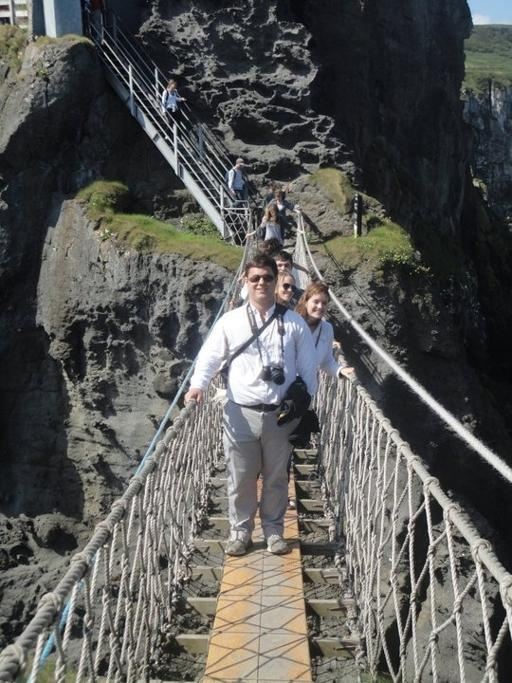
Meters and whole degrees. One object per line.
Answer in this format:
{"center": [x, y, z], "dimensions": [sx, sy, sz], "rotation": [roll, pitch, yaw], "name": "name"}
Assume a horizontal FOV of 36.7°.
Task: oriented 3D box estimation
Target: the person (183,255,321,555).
{"center": [-0.010, 0.311, 3.770], "dimensions": [0.616, 1.444, 0.383], "rotation": [-4, 15, 5], "name": "person"}

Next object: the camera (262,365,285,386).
{"center": [0.080, 0.148, 3.643], "dimensions": [0.094, 0.090, 0.093], "rotation": [-1, 23, -6], "name": "camera"}

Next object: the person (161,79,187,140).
{"center": [-1.445, -4.162, 13.545], "dimensions": [0.416, 0.961, 1.391], "rotation": [-6, 15, -3], "name": "person"}

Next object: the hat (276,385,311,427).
{"center": [0.175, 0.307, 3.632], "dimensions": [0.077, 0.182, 0.152], "rotation": [17, 50, 16], "name": "hat"}

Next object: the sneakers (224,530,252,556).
{"center": [-0.098, 0.988, 3.794], "dimensions": [0.062, 0.074, 0.187], "rotation": [2, -17, 10], "name": "sneakers"}
